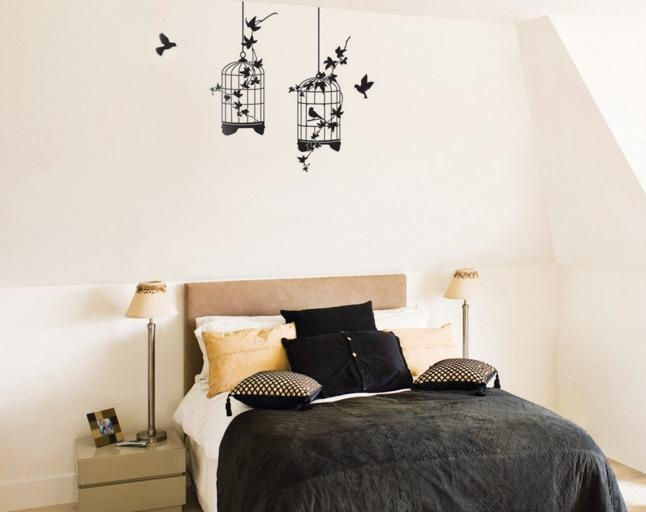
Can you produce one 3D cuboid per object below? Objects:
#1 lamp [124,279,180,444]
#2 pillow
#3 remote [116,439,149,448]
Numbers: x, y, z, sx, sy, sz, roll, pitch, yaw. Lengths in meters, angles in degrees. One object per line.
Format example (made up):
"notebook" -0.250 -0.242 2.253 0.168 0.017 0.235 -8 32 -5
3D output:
"lamp" -1.109 0.686 4.096 0.307 1.067 0.414 -4 0 -15
"pillow" 0.104 0.647 3.969 1.758 0.581 0.941 -5 -1 -13
"remote" -1.190 1.194 3.897 0.131 0.027 0.079 2 -6 3
